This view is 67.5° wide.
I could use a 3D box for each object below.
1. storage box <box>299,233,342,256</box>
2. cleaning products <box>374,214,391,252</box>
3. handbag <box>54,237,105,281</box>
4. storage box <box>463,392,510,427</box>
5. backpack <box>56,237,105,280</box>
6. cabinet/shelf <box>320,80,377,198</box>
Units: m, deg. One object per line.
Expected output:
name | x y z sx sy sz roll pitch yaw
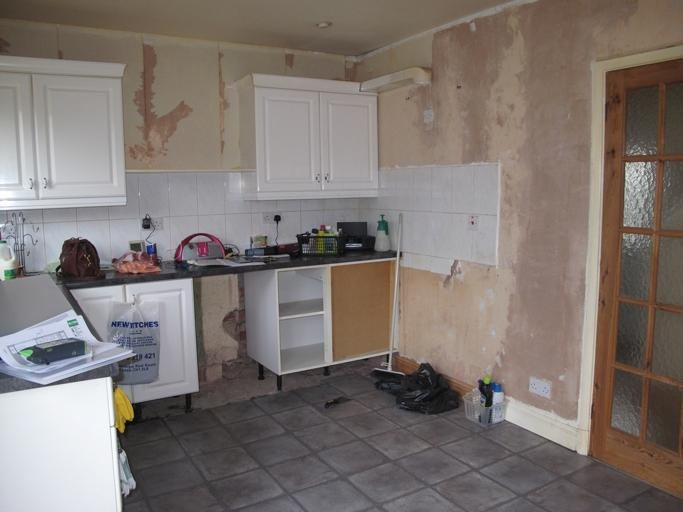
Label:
storage box | -0.191 -0.099 4.554 0.291 0.136 0.199 0 -1 -6
cleaning products | 0.375 -0.214 4.691 0.157 0.305 0.311 1 13 11
handbag | -1.967 0.002 3.798 0.398 0.282 0.224 4 8 27
storage box | 1.059 1.103 3.781 0.200 0.177 0.251 -2 3 -37
backpack | -1.923 0.030 3.805 0.446 0.345 0.251 3 1 40
cabinet/shelf | 0.133 -1.051 4.659 0.557 0.991 0.488 7 25 21
